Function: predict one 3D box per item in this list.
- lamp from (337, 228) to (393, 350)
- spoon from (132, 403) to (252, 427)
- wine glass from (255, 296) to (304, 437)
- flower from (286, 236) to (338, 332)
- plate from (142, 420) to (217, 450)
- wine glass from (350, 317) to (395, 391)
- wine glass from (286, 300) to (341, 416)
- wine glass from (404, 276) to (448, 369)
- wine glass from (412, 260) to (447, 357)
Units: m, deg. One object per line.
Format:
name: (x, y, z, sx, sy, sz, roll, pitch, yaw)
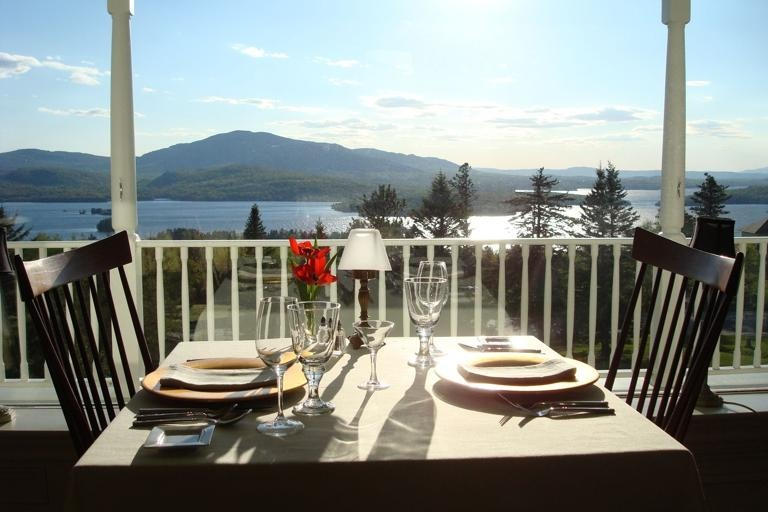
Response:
lamp: (-0.078, 0.126, 2.513, 0.202, 0.505, 0.212, 1, -2, 0)
spoon: (-0.577, 0.473, 1.805, 0.362, 0.054, 0.111, 0, 11, -2)
wine glass: (-0.298, 0.314, 1.790, 0.140, 0.413, 0.152, 0, -7, -6)
flower: (-0.266, 0.098, 2.235, 0.143, 0.307, 0.147, 2, 16, 8)
plate: (-0.573, 0.505, 1.688, 0.193, 0.047, 0.161, 1, 1, -10)
wine glass: (-0.035, 0.329, 1.989, 0.191, 0.234, 0.202, 0, -5, -1)
wine glass: (-0.201, 0.291, 1.825, 0.179, 0.329, 0.164, 4, 7, -7)
wine glass: (0.154, 0.210, 2.176, 0.143, 0.338, 0.159, 8, 16, 44)
wine glass: (0.142, 0.232, 2.165, 0.181, 0.292, 0.188, 1, -3, 4)
